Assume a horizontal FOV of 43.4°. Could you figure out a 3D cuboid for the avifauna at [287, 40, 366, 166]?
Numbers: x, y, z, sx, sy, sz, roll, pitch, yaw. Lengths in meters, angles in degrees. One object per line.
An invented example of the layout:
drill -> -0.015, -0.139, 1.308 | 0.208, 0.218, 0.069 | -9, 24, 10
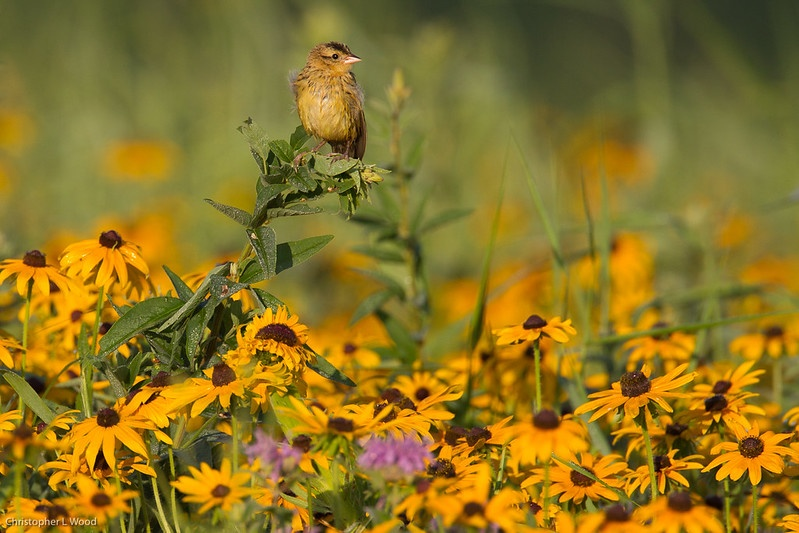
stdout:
avifauna -> -0.301, -0.746, 4.315 | 0.264, 0.521, 0.543 | 5, 20, 0
